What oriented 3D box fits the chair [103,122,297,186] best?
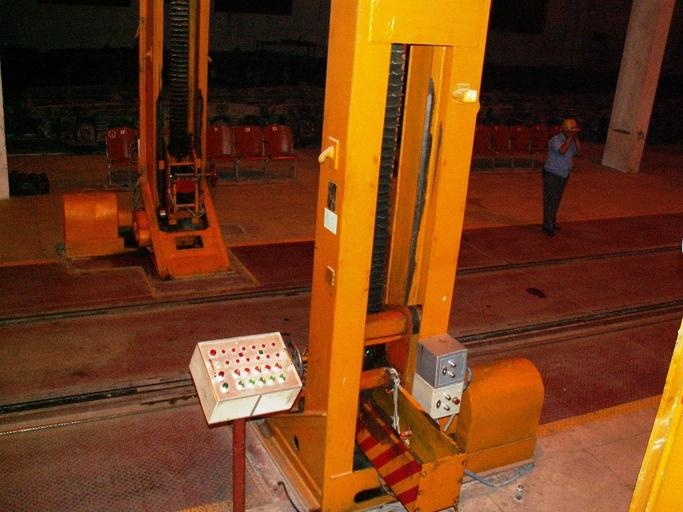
[{"bbox_3d":[-2.819,-2.184,10.771,3.922,1.144,2.579,-7,24,-20],"label":"chair"}]

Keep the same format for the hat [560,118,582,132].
[{"bbox_3d":[3.691,-2.106,8.116,0.225,0.199,0.658,10,24,19],"label":"hat"}]

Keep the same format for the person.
[{"bbox_3d":[3.559,-1.276,8.413,0.391,1.966,0.469,11,25,22],"label":"person"}]
